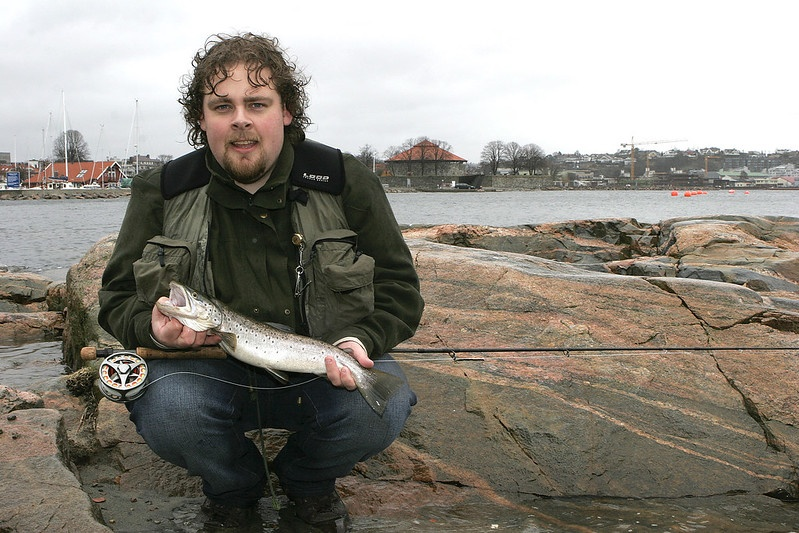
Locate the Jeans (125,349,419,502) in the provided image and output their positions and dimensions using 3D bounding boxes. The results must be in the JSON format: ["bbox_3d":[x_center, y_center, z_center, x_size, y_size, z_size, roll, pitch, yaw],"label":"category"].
[{"bbox_3d":[-0.740,0.913,3.809,1.370,0.451,0.954,0,5,4],"label":"Jeans"}]

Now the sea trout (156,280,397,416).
[{"bbox_3d":[-0.653,0.450,3.655,1.379,0.343,0.233,26,-35,-17],"label":"sea trout"}]

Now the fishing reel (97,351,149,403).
[{"bbox_3d":[-1.544,0.598,3.696,0.268,0.260,0.236,-2,9,-3],"label":"fishing reel"}]
